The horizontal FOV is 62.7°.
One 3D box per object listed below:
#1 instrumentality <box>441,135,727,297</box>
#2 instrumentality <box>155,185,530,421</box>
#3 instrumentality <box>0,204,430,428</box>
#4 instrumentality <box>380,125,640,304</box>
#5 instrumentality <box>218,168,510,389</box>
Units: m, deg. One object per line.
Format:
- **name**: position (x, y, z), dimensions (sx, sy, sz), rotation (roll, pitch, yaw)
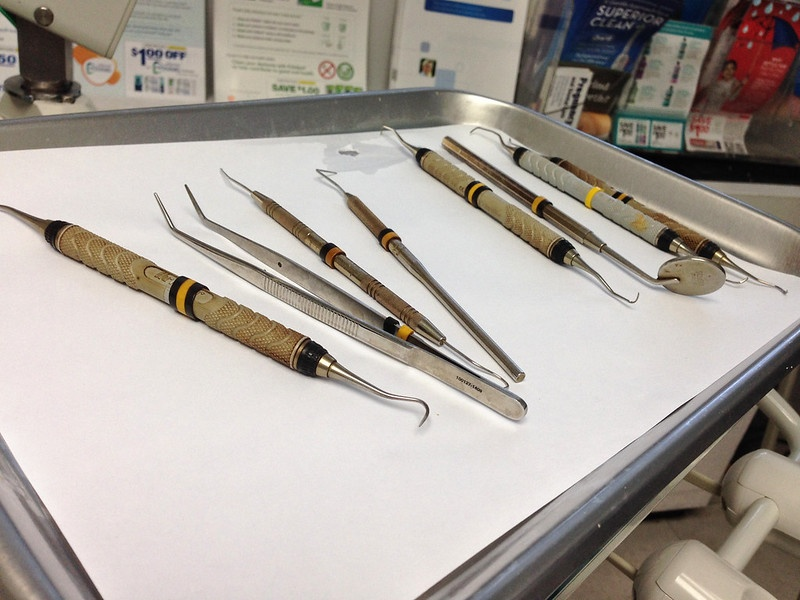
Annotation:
- **instrumentality**: position (0.242, -0.136, 1.102), dimensions (0.151, 0.076, 0.559), rotation (-1, 30, -45)
- **instrumentality**: position (-0.082, 0.010, 0.812), dimensions (0.437, 0.067, 0.057), rotation (36, 43, 23)
- **instrumentality**: position (-0.228, 0.026, 0.765), dimensions (0.576, 0.049, 0.044), rotation (25, 14, 22)
- **instrumentality**: position (0.170, -0.126, 1.020), dimensions (0.516, 0.064, 0.054), rotation (39, 8, 35)
- **instrumentality**: position (-0.054, -0.021, 0.853), dimensions (0.442, 0.034, 0.060), rotation (39, 11, 23)
